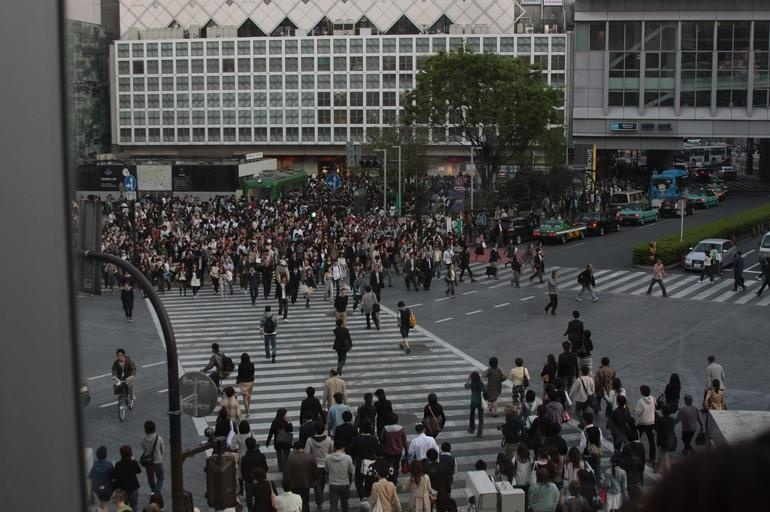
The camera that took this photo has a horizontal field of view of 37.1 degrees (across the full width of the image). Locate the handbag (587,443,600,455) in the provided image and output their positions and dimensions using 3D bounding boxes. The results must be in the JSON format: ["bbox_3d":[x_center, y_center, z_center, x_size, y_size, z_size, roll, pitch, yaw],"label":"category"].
[{"bbox_3d":[5.839,5.436,32.141,0.458,0.317,0.147,-3,0,-16],"label":"handbag"}]

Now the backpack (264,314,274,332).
[{"bbox_3d":[-4.249,2.508,41.934,0.442,0.670,0.567,-3,0,-5],"label":"backpack"}]

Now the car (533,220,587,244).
[{"bbox_3d":[10.594,-1.282,69.563,3.101,0.982,1.353,-21,23,-41],"label":"car"}]

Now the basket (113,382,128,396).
[{"bbox_3d":[-8.478,4.283,36.926,0.400,0.352,0.597,3,1,-26],"label":"basket"}]

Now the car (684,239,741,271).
[{"bbox_3d":[16.611,-0.003,58.432,1.332,0.979,2.737,5,11,35],"label":"car"}]

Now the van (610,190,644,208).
[{"bbox_3d":[16.936,-4.040,80.063,2.084,1.148,1.249,-22,23,-40],"label":"van"}]

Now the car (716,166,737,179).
[{"bbox_3d":[34.521,-8.381,116.054,1.619,1.582,2.989,-1,14,5],"label":"car"}]

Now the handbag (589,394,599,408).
[{"bbox_3d":[6.615,4.613,36.201,0.242,0.461,0.699,-2,1,28],"label":"handbag"}]

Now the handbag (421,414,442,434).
[{"bbox_3d":[1.333,4.878,33.290,0.549,0.582,0.401,-8,15,-9],"label":"handbag"}]

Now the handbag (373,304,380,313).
[{"bbox_3d":[-0.360,2.144,46.557,0.350,0.327,0.556,5,-2,-5],"label":"handbag"}]

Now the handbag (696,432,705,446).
[{"bbox_3d":[9.654,5.590,35.062,0.278,0.420,0.562,-2,0,16],"label":"handbag"}]

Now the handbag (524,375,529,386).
[{"bbox_3d":[4.433,3.959,36.184,0.132,0.280,0.177,-2,0,-8],"label":"handbag"}]
